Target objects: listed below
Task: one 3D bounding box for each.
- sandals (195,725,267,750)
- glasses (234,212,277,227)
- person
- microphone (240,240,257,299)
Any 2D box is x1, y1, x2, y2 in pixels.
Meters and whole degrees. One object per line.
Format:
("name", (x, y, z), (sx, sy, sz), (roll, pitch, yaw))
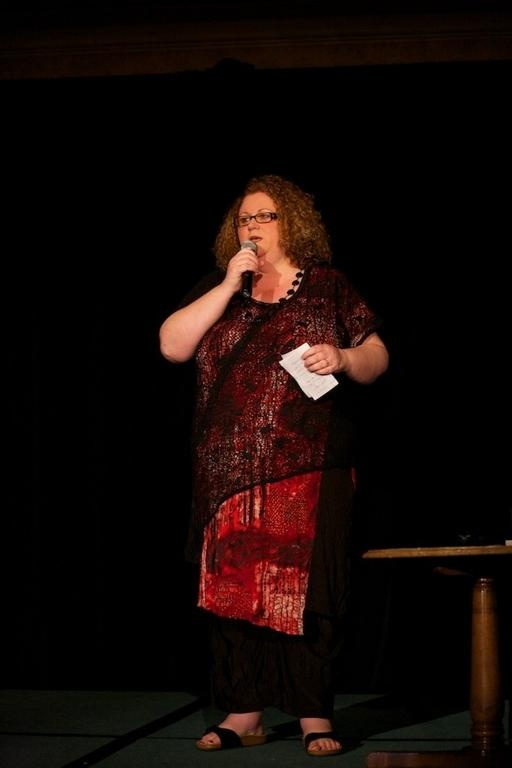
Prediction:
("sandals", (-0.060, 0.885, 1.943), (0.136, 0.036, 0.061), (4, -11, -17))
("glasses", (0.003, -0.452, 2.140), (0.058, 0.016, 0.058), (-5, -7, 31))
("person", (0.046, 0.156, 2.059), (0.592, 1.002, 0.449), (-2, 1, 8))
("microphone", (-0.011, -0.304, 2.035), (0.042, 0.140, 0.039), (3, -25, 7))
